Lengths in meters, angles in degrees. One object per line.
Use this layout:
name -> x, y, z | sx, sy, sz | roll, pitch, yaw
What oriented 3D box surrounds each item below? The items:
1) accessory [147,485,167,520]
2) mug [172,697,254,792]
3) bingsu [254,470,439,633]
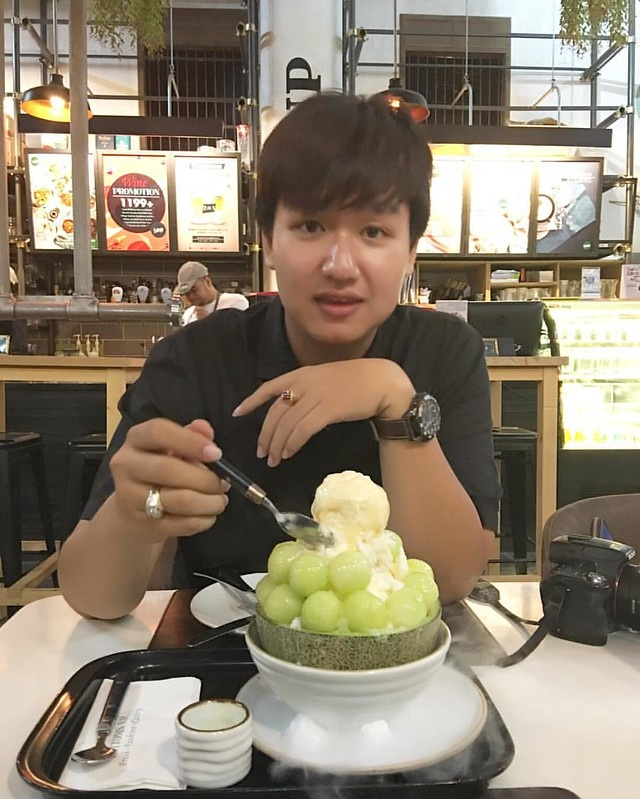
accessory -> -0.191, 0.122, 0.855 | 0.026, 0.032, 0.013 | 3, 21, 15
mug -> -0.091, 0.291, 0.619 | 0.064, 0.046, 0.061 | 0, -4, 10
bingsu -> 0.023, 0.136, 0.671 | 0.145, 0.093, 0.139 | 0, -9, 8
